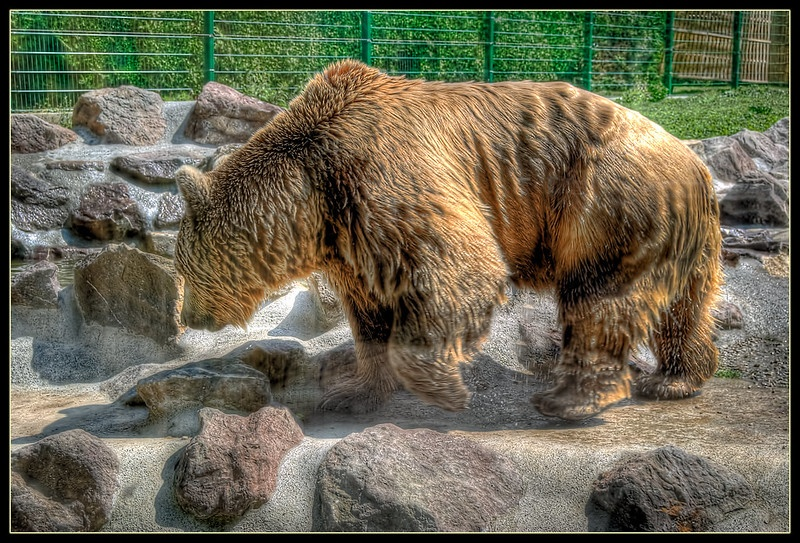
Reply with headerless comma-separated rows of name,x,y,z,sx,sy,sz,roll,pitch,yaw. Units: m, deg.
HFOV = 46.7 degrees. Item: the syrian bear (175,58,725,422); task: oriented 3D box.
syrian bear,0.743,-0.190,8.643,5.313,3.066,2.188,-1,-2,2
